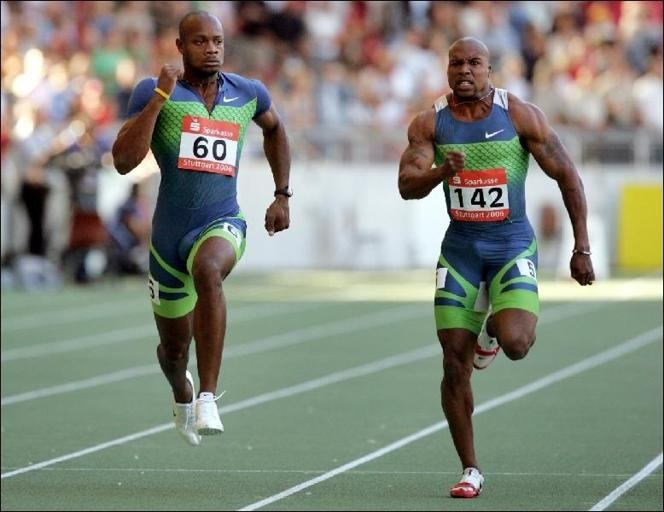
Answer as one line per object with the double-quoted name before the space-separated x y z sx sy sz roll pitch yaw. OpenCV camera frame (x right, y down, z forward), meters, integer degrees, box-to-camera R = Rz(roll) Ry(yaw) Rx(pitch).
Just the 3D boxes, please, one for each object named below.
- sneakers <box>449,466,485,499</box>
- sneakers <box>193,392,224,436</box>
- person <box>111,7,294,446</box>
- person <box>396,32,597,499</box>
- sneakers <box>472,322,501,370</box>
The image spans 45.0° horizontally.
"sneakers" 0.728 1.205 4.279 0.087 0.102 0.231 3 13 15
"sneakers" -0.636 0.811 4.121 0.124 0.216 0.205 -1 5 -9
"person" -0.657 -0.125 4.536 0.844 2.462 0.957 -1 5 -5
"person" 0.900 0.028 4.483 1.046 2.550 0.817 0 5 2
"sneakers" 0.900 0.556 4.796 0.121 0.170 0.372 17 -26 13
